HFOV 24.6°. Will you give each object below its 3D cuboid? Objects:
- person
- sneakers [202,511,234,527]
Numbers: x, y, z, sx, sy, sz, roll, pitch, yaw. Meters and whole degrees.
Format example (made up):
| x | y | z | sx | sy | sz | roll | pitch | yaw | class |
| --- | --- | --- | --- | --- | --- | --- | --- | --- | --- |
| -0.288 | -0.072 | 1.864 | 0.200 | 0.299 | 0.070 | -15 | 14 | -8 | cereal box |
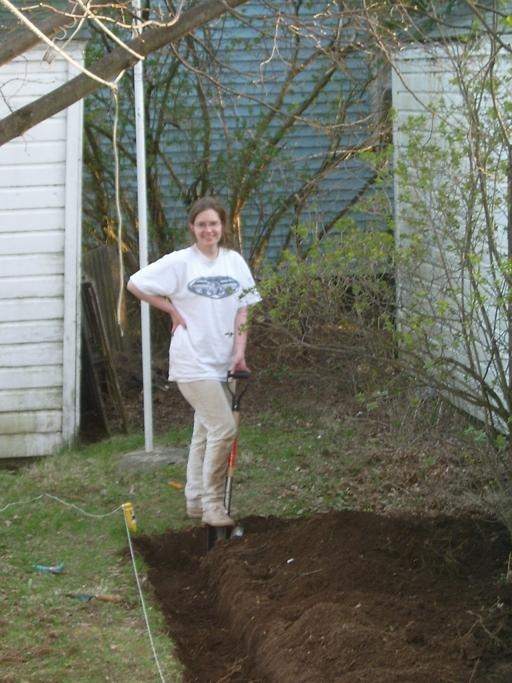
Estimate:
| x | y | z | sx | sy | sz | roll | pitch | yaw | class |
| --- | --- | --- | --- | --- | --- | --- | --- | --- | --- |
| -0.340 | 0.144 | 6.798 | 0.714 | 1.905 | 0.464 | 0 | 5 | 6 | person |
| -0.215 | 1.008 | 6.662 | 0.174 | 0.075 | 0.075 | -5 | -5 | 24 | sneakers |
